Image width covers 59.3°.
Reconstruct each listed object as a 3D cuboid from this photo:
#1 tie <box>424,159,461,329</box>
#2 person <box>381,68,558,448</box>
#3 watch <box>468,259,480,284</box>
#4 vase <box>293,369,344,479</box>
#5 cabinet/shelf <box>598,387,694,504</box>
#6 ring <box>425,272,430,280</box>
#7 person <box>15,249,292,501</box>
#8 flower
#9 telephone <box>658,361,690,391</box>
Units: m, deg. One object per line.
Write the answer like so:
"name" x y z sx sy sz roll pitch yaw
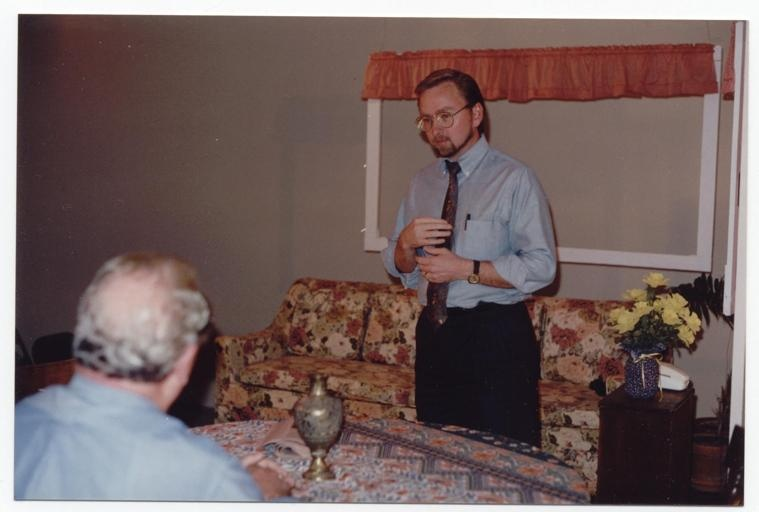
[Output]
"tie" 0.321 -0.069 3.256 0.147 0.852 0.066 0 -1 2
"person" 0.454 0.003 3.271 0.858 1.755 0.455 9 14 22
"watch" 0.451 0.073 3.137 0.059 0.093 0.100 3 -38 8
"vase" -0.241 0.681 2.681 0.169 0.427 0.149 -8 17 -41
"cabinet/shelf" 1.422 1.034 3.550 0.541 0.545 0.462 6 13 9
"ring" 0.232 0.101 3.194 0.018 0.008 0.032 28 -19 12
"person" -0.816 0.448 2.225 0.805 0.877 0.332 2 13 -8
"flower" 1.530 0.271 3.747 0.348 0.333 0.347 6 14 23
"telephone" 1.627 0.676 3.690 0.139 0.065 0.192 3 6 -4
